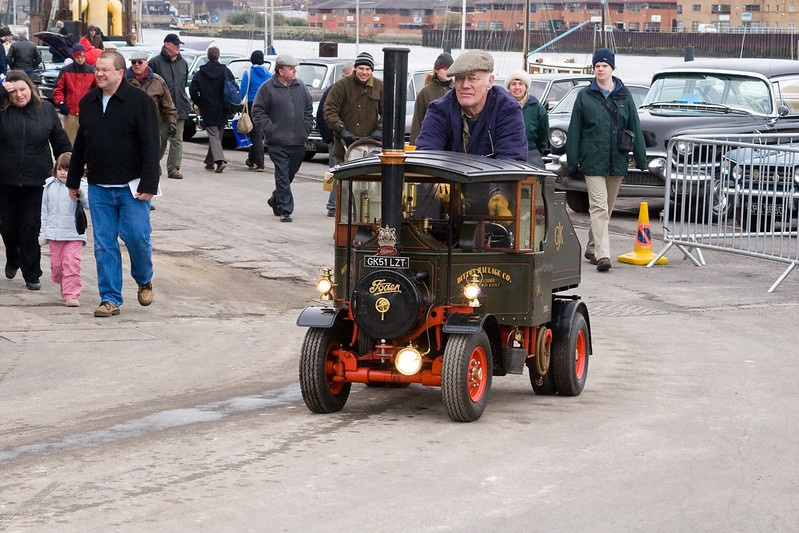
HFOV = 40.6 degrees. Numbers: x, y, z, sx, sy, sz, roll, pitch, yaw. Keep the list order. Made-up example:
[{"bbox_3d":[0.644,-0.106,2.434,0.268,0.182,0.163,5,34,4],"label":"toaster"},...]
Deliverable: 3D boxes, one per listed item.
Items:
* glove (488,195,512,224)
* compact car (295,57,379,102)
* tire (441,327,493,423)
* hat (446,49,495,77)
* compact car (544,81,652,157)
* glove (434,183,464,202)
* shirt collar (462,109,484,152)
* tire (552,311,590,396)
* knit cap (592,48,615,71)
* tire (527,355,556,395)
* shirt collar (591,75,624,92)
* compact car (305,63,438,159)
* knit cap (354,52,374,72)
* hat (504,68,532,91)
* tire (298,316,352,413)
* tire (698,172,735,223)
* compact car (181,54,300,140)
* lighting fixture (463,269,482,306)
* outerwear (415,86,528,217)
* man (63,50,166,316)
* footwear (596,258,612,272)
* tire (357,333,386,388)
[{"bbox_3d":[0.742,-0.447,8.145,0.141,0.171,0.221,0,-5,11],"label":"glove"},{"bbox_3d":[-1.482,-4.077,23.048,1.077,0.944,1.858,2,5,32],"label":"compact car"},{"bbox_3d":[0.473,0.769,8.060,0.181,0.607,0.550,5,22,31],"label":"tire"},{"bbox_3d":[0.555,-1.592,8.591,0.279,0.119,0.222,-5,5,-18],"label":"hat"},{"bbox_3d":[3.064,-2.558,18.748,2.350,1.123,1.354,-6,7,-40],"label":"compact car"},{"bbox_3d":[0.319,-0.574,8.283,0.132,0.186,0.063,4,18,22],"label":"glove"},{"bbox_3d":[0.562,-1.081,8.807,0.191,0.270,0.071,3,-3,22],"label":"shirt collar"},{"bbox_3d":[1.362,0.690,8.850,0.152,0.509,0.463,5,43,18],"label":"tire"},{"bbox_3d":[2.487,-2.534,13.332,0.250,0.235,0.349,3,13,6],"label":"knit cap"},{"bbox_3d":[1.143,0.845,8.795,0.122,0.384,0.350,-3,1,27],"label":"tire"},{"bbox_3d":[2.504,-2.221,13.316,0.273,0.105,0.229,2,4,-6],"label":"shirt collar"},{"bbox_3d":[-0.398,-3.121,21.754,3.332,1.637,1.795,-4,8,-42],"label":"compact car"},{"bbox_3d":[-0.501,-2.820,14.975,0.240,0.250,0.267,7,11,-16],"label":"knit cap"},{"bbox_3d":[1.303,-2.098,12.169,0.209,0.151,0.253,1,-4,3],"label":"hat"},{"bbox_3d":[-0.576,0.720,8.288,0.193,0.662,0.600,3,16,28],"label":"tire"},{"bbox_3d":[3.911,-0.883,13.669,0.233,0.604,0.612,2,4,42],"label":"tire"},{"bbox_3d":[-4.222,-4.067,26.302,1.906,1.703,3.534,2,12,10],"label":"compact car"},{"bbox_3d":[0.528,0.156,8.117,0.128,0.261,0.279,2,13,4],"label":"lighting fixture"},{"bbox_3d":[0.552,-0.864,8.463,1.012,1.265,0.701,2,2,13],"label":"outerwear"},{"bbox_3d":[-2.800,-0.813,10.691,0.838,2.539,0.669,-2,13,-16],"label":"man"},{"bbox_3d":[2.504,-0.034,13.472,0.103,0.113,0.219,0,-4,-3],"label":"footwear"},{"bbox_3d":[-0.255,0.719,8.560,0.354,0.416,0.146,5,-1,-2],"label":"tire"}]
